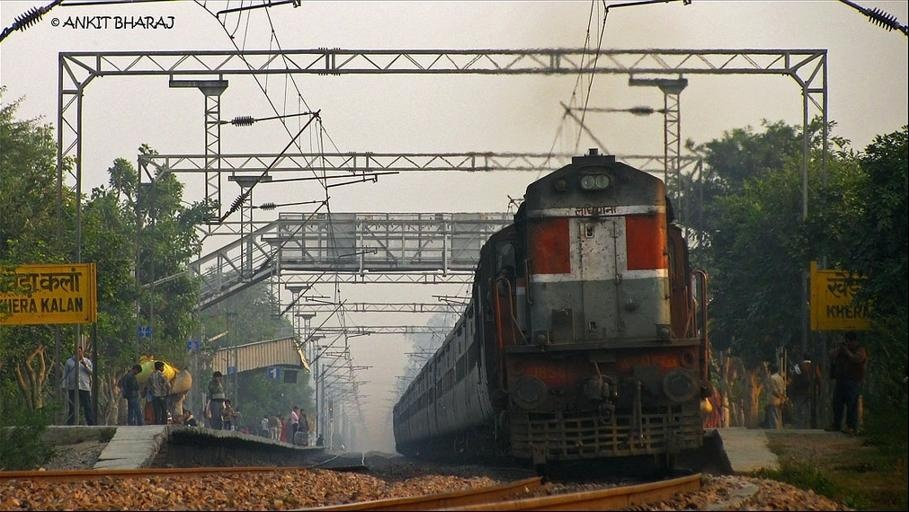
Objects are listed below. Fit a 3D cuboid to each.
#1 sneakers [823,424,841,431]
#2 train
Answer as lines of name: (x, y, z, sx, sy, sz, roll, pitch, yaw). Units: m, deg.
sneakers: (13.292, 6.000, 52.459, 0.553, 0.244, 0.202, 3, -7, -1)
train: (2.766, 2.377, 52.454, 5.623, 10.617, 11.186, 5, -12, -35)
